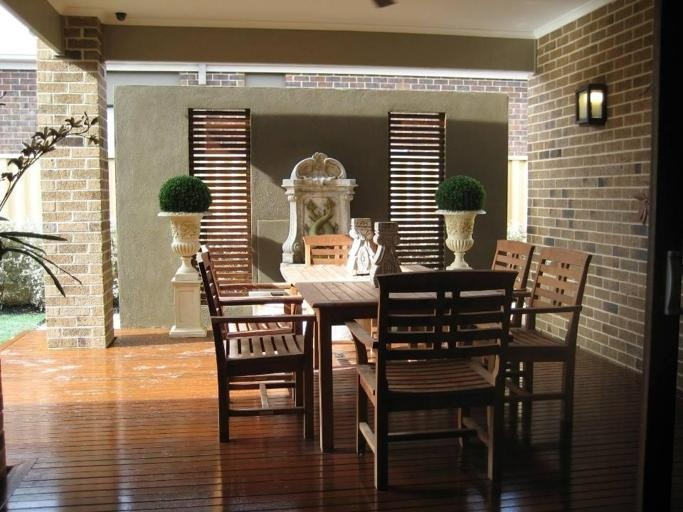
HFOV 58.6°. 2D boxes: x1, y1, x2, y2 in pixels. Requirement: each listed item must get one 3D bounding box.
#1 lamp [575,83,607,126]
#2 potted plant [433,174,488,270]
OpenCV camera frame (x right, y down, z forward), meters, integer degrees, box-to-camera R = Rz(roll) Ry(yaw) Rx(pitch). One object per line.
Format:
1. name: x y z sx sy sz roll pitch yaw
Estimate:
1. lamp: 2.259 -1.386 5.583 0.143 0.374 0.335 -6 10 -27
2. potted plant: 1.303 -0.372 6.687 0.539 1.045 0.573 0 2 -8
